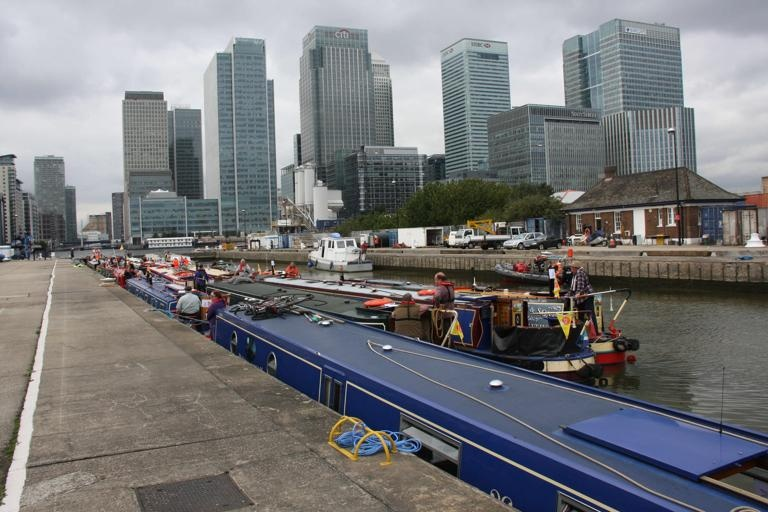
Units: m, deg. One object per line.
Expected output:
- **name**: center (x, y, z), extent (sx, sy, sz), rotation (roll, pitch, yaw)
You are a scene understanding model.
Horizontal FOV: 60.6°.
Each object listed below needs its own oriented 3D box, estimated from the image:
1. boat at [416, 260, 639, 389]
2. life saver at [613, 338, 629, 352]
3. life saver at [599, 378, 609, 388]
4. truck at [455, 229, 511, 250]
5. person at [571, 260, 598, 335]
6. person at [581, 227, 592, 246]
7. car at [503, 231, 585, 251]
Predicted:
- **boat**: center (3.306, 1.537, 16.774), extent (2.971, 1.643, 4.665), rotation (-3, 3, -29)
- **life saver**: center (5.917, 2.238, 16.453), extent (0.382, 0.323, 0.281), rotation (4, 12, 13)
- **life saver**: center (5.476, 3.148, 16.308), extent (0.279, 0.216, 0.059), rotation (-1, -10, 7)
- **truck**: center (9.128, -1.553, 60.579), extent (3.940, 1.182, 1.811), rotation (1, 0, -29)
- **person**: center (4.891, 1.124, 16.068), extent (0.530, 1.777, 1.027), rotation (-3, 2, 16)
- **person**: center (18.015, -1.666, 58.150), extent (0.764, 0.682, 2.385), rotation (4, 32, 25)
- **car**: center (12.004, -1.176, 53.367), extent (4.009, 1.240, 2.768), rotation (-1, 3, 31)
